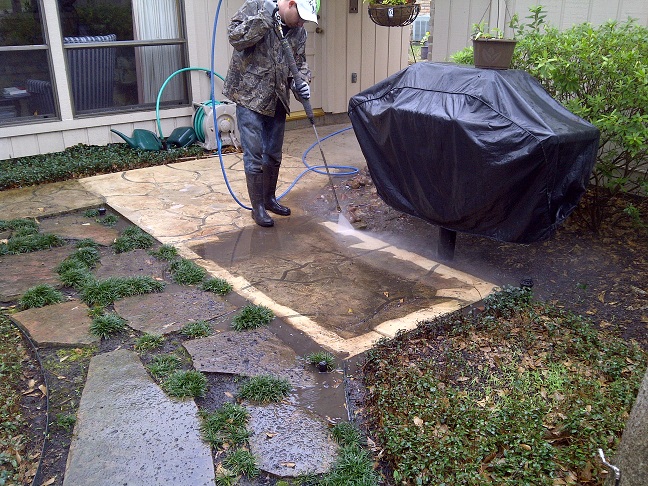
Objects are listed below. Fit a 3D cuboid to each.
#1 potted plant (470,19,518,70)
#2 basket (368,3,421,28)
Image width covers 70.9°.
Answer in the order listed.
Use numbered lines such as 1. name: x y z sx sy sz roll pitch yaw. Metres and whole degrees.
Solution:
1. potted plant: 1.481 -1.623 3.755 0.300 0.233 0.274 6 33 -6
2. basket: 0.841 -3.009 6.001 0.459 0.170 0.443 -15 28 -24
